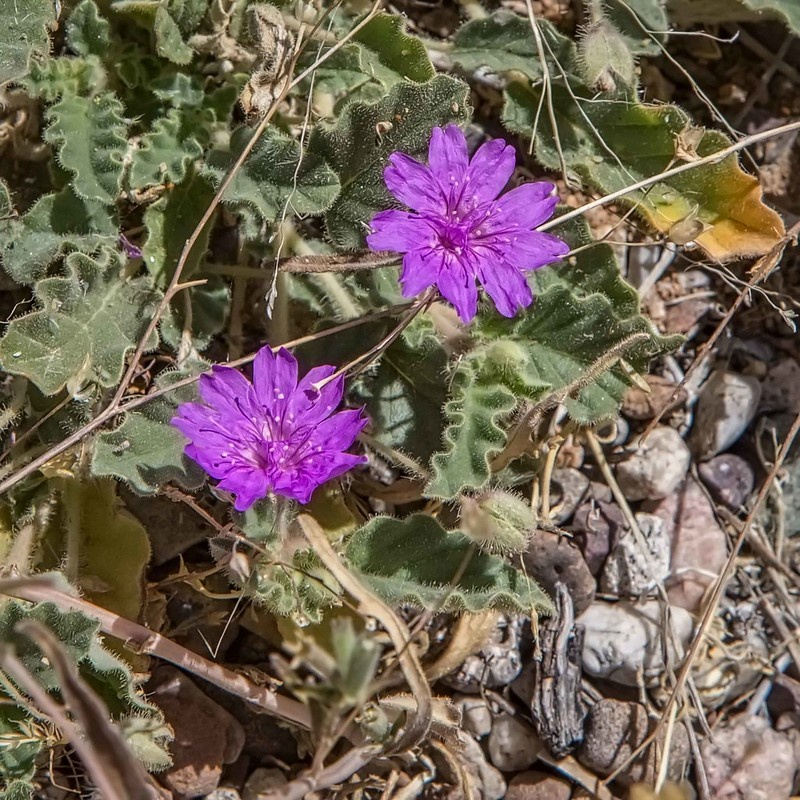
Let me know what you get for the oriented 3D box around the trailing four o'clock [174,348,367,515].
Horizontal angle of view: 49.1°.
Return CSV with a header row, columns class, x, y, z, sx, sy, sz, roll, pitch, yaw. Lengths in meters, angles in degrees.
class,x,y,z,sx,sy,sz,roll,pitch,yaw
trailing four o'clock,-0.208,0.058,1.576,0.349,0.155,0.340,2,22,2
